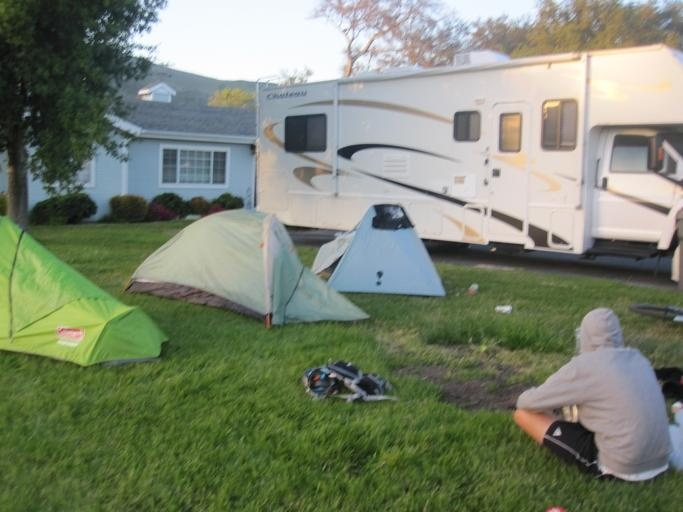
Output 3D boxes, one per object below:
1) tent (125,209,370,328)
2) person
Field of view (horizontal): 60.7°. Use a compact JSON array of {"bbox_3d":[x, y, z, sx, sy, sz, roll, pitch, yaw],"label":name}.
[{"bbox_3d":[-1.306,0.162,7.628,1.971,0.889,1.602,12,6,23],"label":"tent"},{"bbox_3d":[2.020,1.033,4.479,1.022,1.261,0.987,3,-3,-42],"label":"person"}]
